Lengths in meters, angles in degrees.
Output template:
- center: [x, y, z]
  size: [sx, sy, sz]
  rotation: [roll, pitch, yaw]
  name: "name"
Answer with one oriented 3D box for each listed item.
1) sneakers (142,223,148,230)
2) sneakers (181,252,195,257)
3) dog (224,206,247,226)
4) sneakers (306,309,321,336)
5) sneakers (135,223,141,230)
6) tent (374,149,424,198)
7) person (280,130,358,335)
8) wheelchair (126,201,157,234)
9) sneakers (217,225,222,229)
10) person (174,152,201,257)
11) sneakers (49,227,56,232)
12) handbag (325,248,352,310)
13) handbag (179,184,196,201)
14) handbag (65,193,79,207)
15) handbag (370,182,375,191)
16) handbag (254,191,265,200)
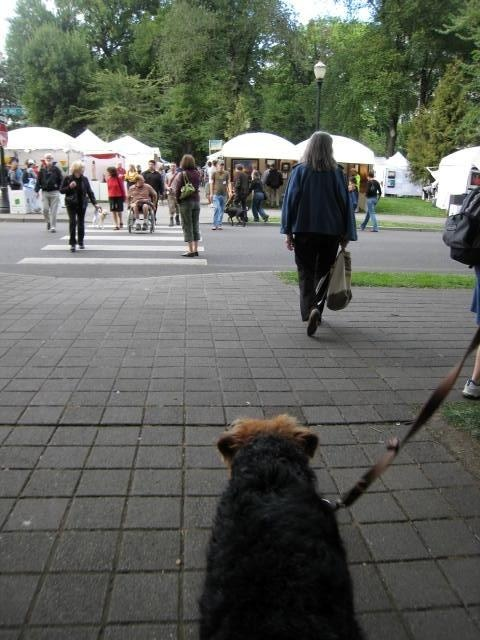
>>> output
- center: [-2.953, -2.934, 16.353]
  size: [0.158, 0.258, 0.081]
  rotation: [-3, 14, -11]
  name: "sneakers"
- center: [-1.162, -1.487, 11.809]
  size: [0.312, 0.144, 0.121]
  rotation: [6, 10, 29]
  name: "sneakers"
- center: [-0.143, -4.048, 20.073]
  size: [0.799, 0.731, 1.702]
  rotation: [0, 17, 1]
  name: "dog"
- center: [0.735, 0.036, 5.338]
  size: [0.099, 0.337, 0.149]
  rotation: [5, 35, 5]
  name: "sneakers"
- center: [-3.152, -2.925, 16.332]
  size: [0.073, 0.256, 0.100]
  rotation: [0, 18, 1]
  name: "sneakers"
- center: [12.984, -12.178, 43.805]
  size: [3.565, 3.618, 4.138]
  rotation: [-14, 21, -41]
  name: "tent"
- center: [0.829, -1.000, 5.557]
  size: [0.776, 1.910, 0.534]
  rotation: [1, 14, 3]
  name: "person"
- center: [-3.139, -3.261, 16.754]
  size: [0.523, 0.967, 1.059]
  rotation: [1, 22, -2]
  name: "wheelchair"
- center: [-0.722, -3.187, 17.862]
  size: [0.116, 0.058, 0.179]
  rotation: [-3, 20, -10]
  name: "sneakers"
- center: [-1.080, -2.476, 11.032]
  size: [0.511, 2.011, 0.505]
  rotation: [-14, 25, -32]
  name: "person"
- center: [-5.643, -2.747, 15.855]
  size: [0.074, 0.113, 0.239]
  rotation: [0, 0, -9]
  name: "sneakers"
- center: [1.035, -0.452, 5.619]
  size: [0.255, 0.867, 0.557]
  rotation: [5, 6, 12]
  name: "handbag"
- center: [-1.084, -2.601, 10.607]
  size: [0.251, 0.365, 0.143]
  rotation: [-1, 20, -1]
  name: "handbag"
- center: [-3.653, -2.647, 11.413]
  size: [0.221, 0.334, 0.115]
  rotation: [0, 34, -9]
  name: "handbag"
- center: [4.633, -4.712, 18.472]
  size: [0.200, 0.385, 0.083]
  rotation: [-3, 14, -13]
  name: "handbag"
- center: [0.730, -4.735, 20.241]
  size: [0.398, 0.322, 0.234]
  rotation: [-1, 0, -5]
  name: "handbag"
